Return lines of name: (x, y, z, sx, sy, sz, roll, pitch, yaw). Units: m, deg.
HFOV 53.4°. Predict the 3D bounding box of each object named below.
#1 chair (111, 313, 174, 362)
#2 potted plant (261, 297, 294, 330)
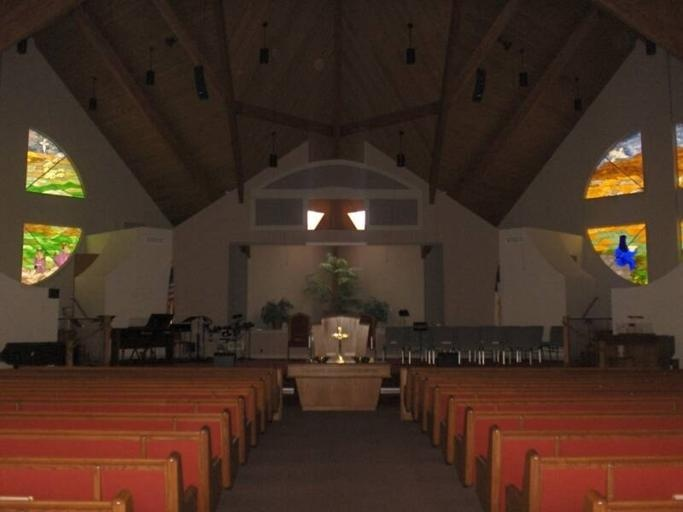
chair: (-4.013, 1.590, 13.353, 0.744, 1.125, 1.130, 2, -2, 30)
potted plant: (-1.975, 1.751, 20.203, 0.855, 0.884, 0.903, -1, -12, -2)
